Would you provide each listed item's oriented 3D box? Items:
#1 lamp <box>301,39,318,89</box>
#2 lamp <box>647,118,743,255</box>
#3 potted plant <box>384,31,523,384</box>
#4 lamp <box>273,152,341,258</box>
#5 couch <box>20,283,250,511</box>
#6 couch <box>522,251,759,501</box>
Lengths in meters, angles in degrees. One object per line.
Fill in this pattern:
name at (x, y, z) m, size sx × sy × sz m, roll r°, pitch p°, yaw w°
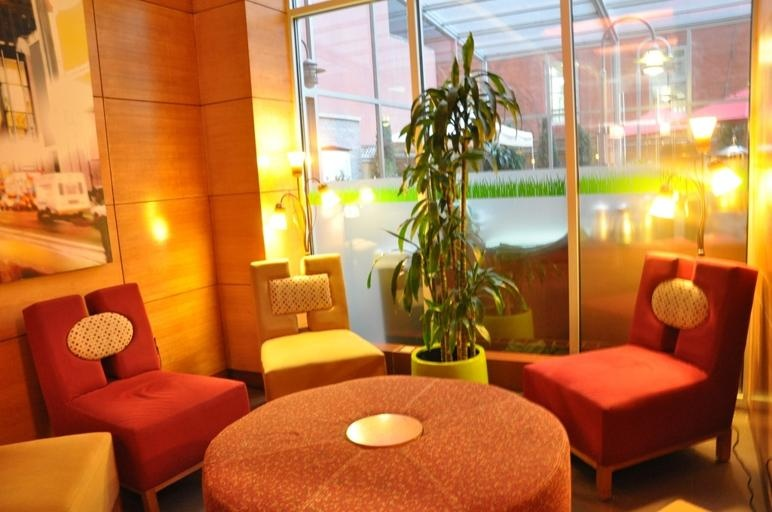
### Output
lamp at (-0.723, -1.819, 5.501) m, size 0.167 × 0.447 × 0.053 m, roll 1°, pitch 10°, yaw 30°
lamp at (2.475, -0.454, 4.387) m, size 0.486 × 1.012 × 0.684 m, roll 10°, pitch -8°, yaw -25°
potted plant at (0.532, -0.316, 4.584) m, size 1.003 × 2.817 × 1.076 m, roll -2°, pitch 8°, yaw 9°
lamp at (-0.748, -0.474, 5.358) m, size 0.633 × 0.980 × 0.660 m, roll -4°, pitch 8°, yaw -4°
couch at (-1.665, 0.889, 4.674) m, size 1.586 × 1.849 × 1.210 m, roll 2°, pitch 7°, yaw 28°
couch at (1.783, 0.746, 4.106) m, size 1.273 × 1.312 × 0.909 m, roll -7°, pitch 9°, yaw -17°
